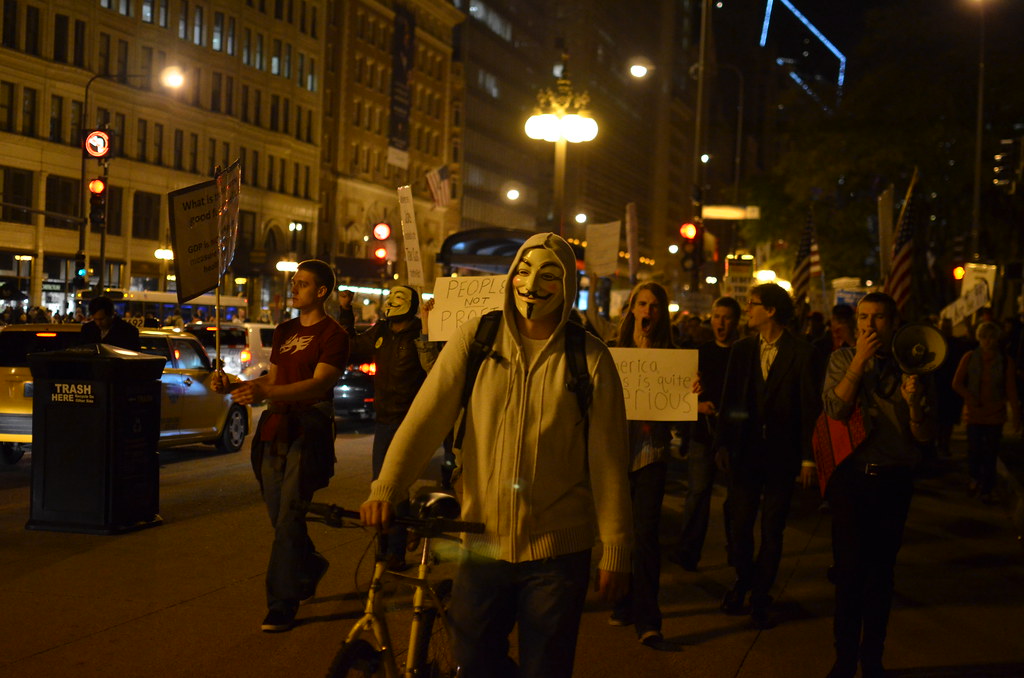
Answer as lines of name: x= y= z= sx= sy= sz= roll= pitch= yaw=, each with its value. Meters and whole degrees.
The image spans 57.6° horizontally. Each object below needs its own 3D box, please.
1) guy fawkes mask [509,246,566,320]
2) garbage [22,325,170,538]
guy fawkes mask: x=0.176 y=-0.352 z=6.104 sx=0.357 sy=0.620 sz=0.265 roll=3 pitch=-15 yaw=1
garbage: x=-4.669 y=1.095 z=11.044 sx=1.344 sy=2.154 sz=1.751 roll=2 pitch=-1 yaw=-18
